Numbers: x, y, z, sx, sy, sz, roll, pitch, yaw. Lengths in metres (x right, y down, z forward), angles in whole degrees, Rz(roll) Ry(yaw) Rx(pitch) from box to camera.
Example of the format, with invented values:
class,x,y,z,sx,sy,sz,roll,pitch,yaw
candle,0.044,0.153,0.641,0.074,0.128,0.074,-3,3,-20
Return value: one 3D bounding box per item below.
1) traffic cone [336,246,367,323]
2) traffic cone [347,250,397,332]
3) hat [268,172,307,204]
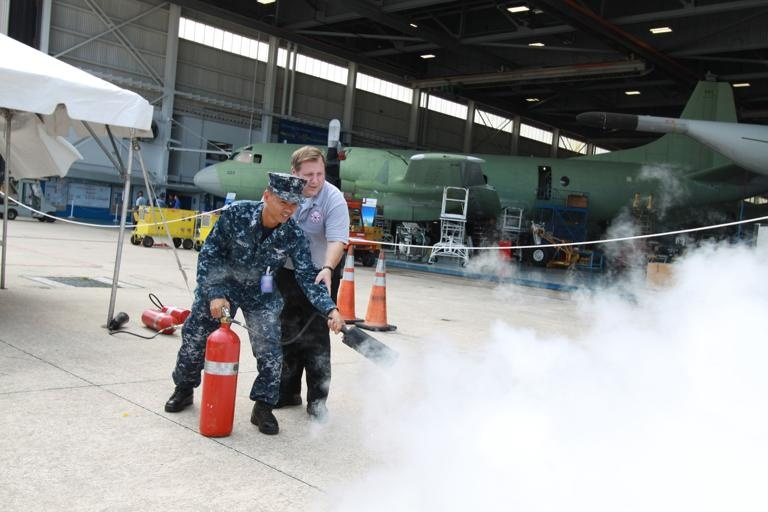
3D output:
class,x,y,z,sx,sy,sz,roll,pitch,yaw
traffic cone,-0.489,0.425,9.270,0.366,0.975,0.399,3,2,-11
traffic cone,-0.058,0.511,8.956,0.451,1.142,0.454,6,2,39
hat,-0.813,-0.561,5.472,0.286,0.243,0.291,-1,5,-42
